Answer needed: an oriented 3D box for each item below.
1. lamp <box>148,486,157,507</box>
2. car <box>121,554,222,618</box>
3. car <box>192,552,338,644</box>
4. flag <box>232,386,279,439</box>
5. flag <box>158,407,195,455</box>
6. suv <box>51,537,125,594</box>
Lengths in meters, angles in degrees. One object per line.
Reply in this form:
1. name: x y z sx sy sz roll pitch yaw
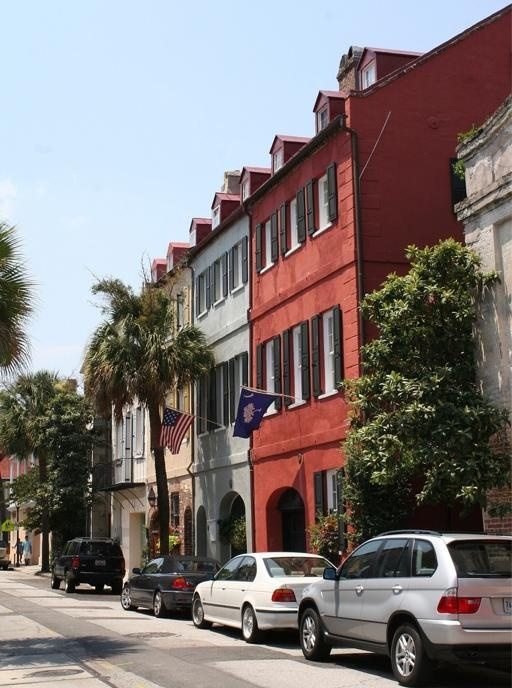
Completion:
1. lamp: -3.761 5.455 32.416 0.256 0.878 1.616 1 -18 -10
2. car: -1.667 4.597 17.491 1.025 0.844 2.382 6 -14 -22
3. car: 0.103 3.519 13.067 1.079 0.889 2.383 4 -12 -19
4. flag: 0.078 1.539 20.790 1.205 1.705 0.167 -8 -51 21
5. flag: -2.084 2.214 23.253 0.764 1.216 0.562 0 -15 -7
6. suv: -5.012 6.511 26.445 1.248 1.355 2.730 6 -15 -20
